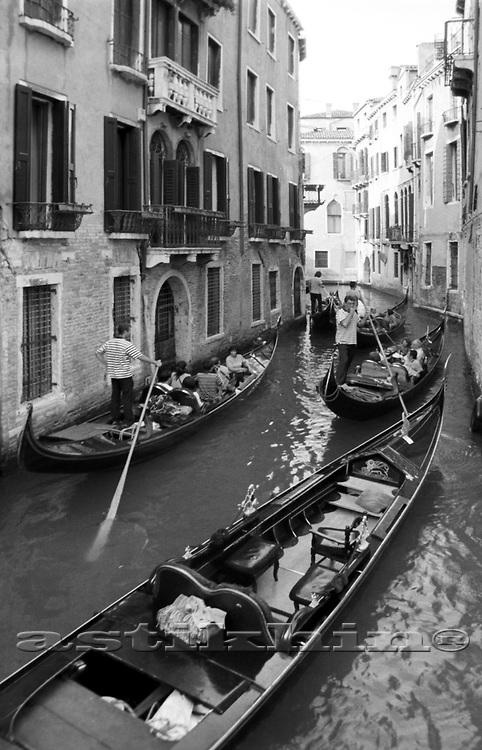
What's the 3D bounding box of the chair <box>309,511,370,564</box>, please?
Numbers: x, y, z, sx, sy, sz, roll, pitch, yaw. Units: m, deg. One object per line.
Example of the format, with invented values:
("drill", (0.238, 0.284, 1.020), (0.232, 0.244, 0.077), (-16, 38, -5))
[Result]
("chair", (0.873, 1.474, 6.134), (0.367, 0.655, 0.383), (4, 5, 39))
